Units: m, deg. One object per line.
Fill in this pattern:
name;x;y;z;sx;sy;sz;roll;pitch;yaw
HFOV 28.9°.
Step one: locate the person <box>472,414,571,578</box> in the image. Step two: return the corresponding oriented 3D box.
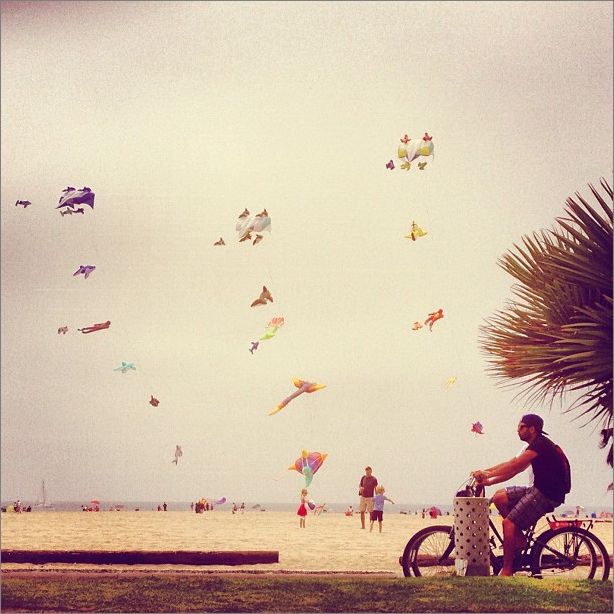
person;2.332;2.136;12.814;0.952;1.432;0.600;-3;-23;15
